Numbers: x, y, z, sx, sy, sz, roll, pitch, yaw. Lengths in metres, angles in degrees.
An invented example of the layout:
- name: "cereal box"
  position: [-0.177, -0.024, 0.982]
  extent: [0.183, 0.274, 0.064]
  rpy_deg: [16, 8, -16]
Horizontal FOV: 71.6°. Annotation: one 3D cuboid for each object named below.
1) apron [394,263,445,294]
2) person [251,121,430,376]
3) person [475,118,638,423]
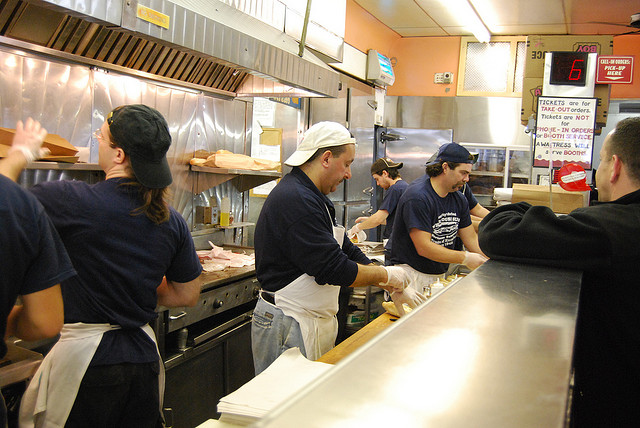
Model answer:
- name: "apron"
  position: [0.813, 0.485, 3.472]
  extent: [0.431, 0.205, 0.202]
  rpy_deg: [0, 6, -10]
- name: "person"
  position: [0.048, 0.187, 2.427]
  extent: [0.743, 1.357, 0.413]
  rpy_deg: [-3, 8, -31]
- name: "person"
  position: [0.898, 0.223, 1.666]
  extent: [0.517, 1.154, 0.281]
  rpy_deg: [3, 7, 17]
